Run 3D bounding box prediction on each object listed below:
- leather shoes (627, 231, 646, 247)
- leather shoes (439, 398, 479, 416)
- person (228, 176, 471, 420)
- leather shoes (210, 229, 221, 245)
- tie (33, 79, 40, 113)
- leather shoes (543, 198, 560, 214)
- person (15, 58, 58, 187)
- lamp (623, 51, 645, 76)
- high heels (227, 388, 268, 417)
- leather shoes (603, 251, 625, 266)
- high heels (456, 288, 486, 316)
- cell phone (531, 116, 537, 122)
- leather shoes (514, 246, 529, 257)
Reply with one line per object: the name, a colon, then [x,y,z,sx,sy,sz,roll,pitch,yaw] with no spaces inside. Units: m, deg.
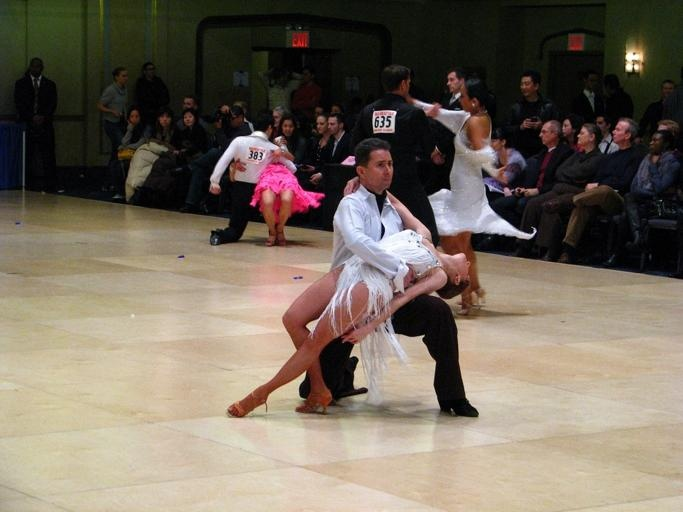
leather shoes: [4.017,-0.225,8.697,0.227,0.223,0.118,5,8,23]
leather shoes: [0.682,0.874,3.733,0.254,0.099,0.093,-2,2,34]
person: [0.062,0.224,3.646,0.747,1.347,1.122,9,10,44]
leather shoes: [-1.937,-0.274,9.910,0.165,0.219,0.230,1,-4,-11]
tie: [-7.499,-3.982,15.851,0.141,0.818,0.099,0,8,-13]
leather shoes: [3.055,-0.712,9.260,0.173,0.141,0.338,5,15,20]
person: [-7.572,-3.257,16.034,0.849,3.229,0.770,4,8,17]
lamp: [7.334,-4.833,16.025,0.441,0.573,0.186,1,3,19]
high heels: [-0.526,0.806,3.648,0.221,0.169,0.267,1,7,-7]
leather shoes: [3.902,0.019,9.098,0.385,0.250,0.188,-2,8,-28]
high heels: [1.342,0.462,6.493,0.157,0.171,0.456,0,2,23]
cell phone: [3.190,-2.253,10.548,0.142,0.092,0.076,3,5,9]
leather shoes: [2.702,-0.077,9.562,0.175,0.158,0.185,1,2,37]
